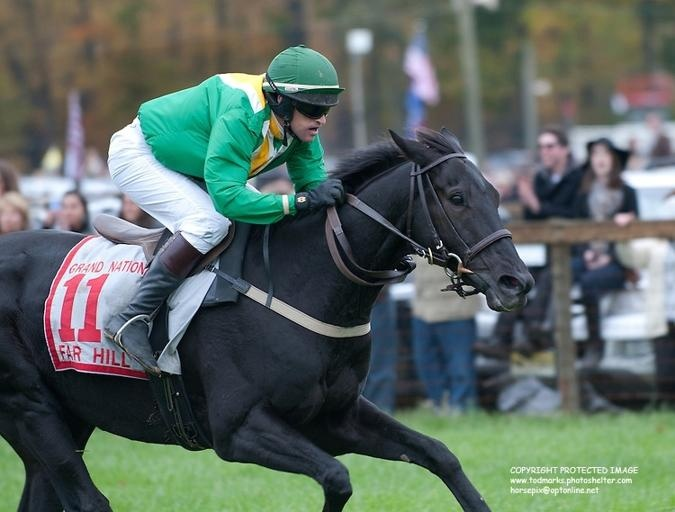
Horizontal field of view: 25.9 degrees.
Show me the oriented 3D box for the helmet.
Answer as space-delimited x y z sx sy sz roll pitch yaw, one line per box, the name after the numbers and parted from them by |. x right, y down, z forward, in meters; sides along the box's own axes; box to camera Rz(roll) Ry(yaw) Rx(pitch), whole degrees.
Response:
-0.218 -1.375 11.080 0.582 0.307 0.425 9 5 23 | helmet

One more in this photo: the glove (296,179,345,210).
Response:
-0.126 -0.453 10.981 0.342 0.120 0.196 -10 40 6 | glove
